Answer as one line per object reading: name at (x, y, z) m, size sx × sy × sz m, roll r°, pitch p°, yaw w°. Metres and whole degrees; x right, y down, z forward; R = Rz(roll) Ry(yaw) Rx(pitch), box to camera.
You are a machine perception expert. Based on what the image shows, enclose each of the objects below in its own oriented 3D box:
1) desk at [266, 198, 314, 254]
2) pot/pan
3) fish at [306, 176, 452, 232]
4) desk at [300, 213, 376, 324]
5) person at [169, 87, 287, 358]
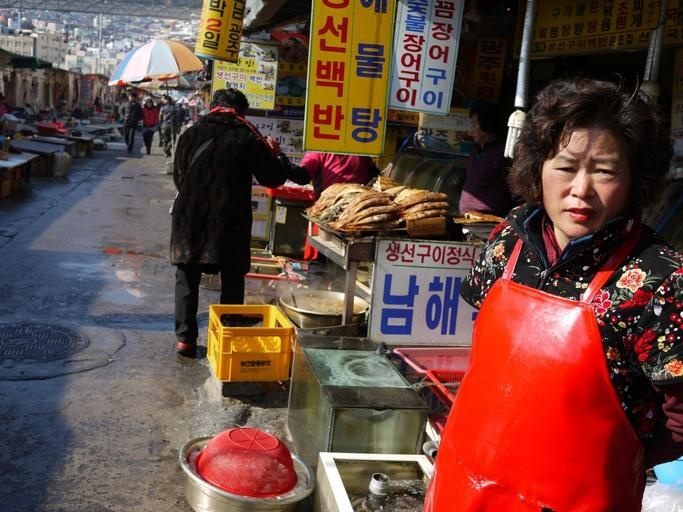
desk at (-0.653, -0.414, 7.905) m, size 0.771 × 0.695 × 0.690 m, roll 3°, pitch 10°, yaw -7°
pot/pan at (-0.159, 0.462, 4.561) m, size 0.691 × 0.160 × 0.574 m, roll 1°, pitch 17°, yaw -19°
fish at (0.174, -0.397, 3.997) m, size 0.926 × 0.442 × 0.785 m, roll 3°, pitch 21°, yaw -26°
desk at (0.000, 0.142, 3.951) m, size 0.333 × 0.677 × 0.723 m, roll 4°, pitch 14°, yaw -10°
person at (-1.078, -0.165, 4.905) m, size 0.889 × 2.266 × 0.558 m, roll 3°, pitch 16°, yaw -14°
